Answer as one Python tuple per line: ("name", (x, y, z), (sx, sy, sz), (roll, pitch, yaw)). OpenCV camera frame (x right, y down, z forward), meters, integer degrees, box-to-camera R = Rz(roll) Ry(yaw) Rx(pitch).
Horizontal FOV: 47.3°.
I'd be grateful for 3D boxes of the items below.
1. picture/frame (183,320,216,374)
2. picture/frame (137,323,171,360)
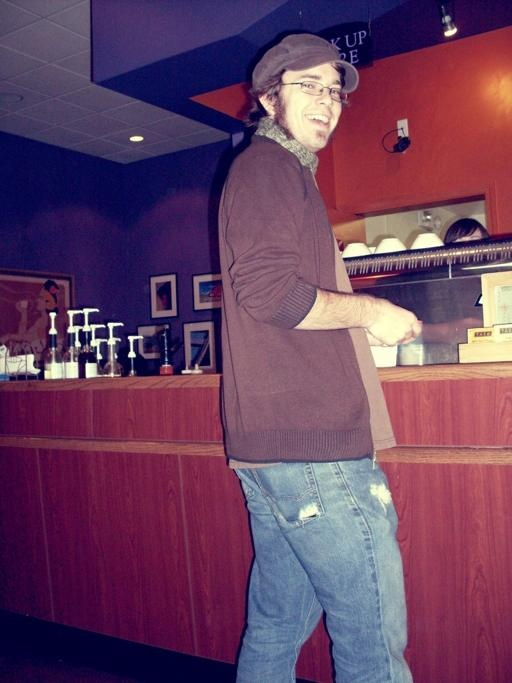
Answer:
("picture/frame", (-0.564, 0.053, 5.934), (0.475, 0.711, 0.032), (-3, -4, 33))
("picture/frame", (-0.873, 0.002, 4.942), (0.372, 0.390, 0.016), (-1, -10, 36))
